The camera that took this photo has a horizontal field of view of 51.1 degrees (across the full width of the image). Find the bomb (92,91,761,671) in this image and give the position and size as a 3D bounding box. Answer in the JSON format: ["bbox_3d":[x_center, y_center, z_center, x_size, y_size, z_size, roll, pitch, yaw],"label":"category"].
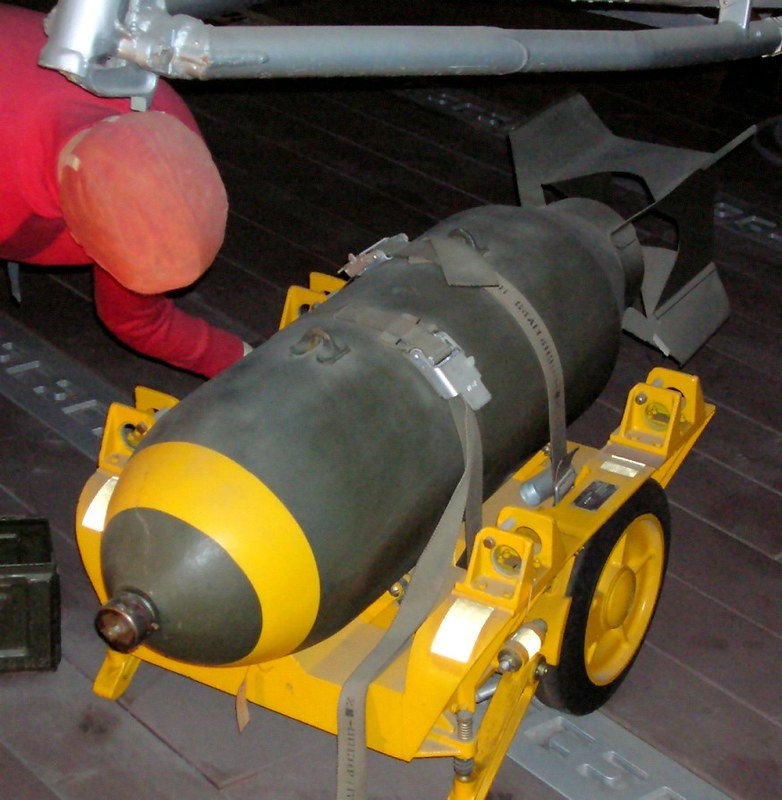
[{"bbox_3d":[0.513,-0.333,3.381,3.826,1.169,1.229,-31,39,-30],"label":"bomb"}]
